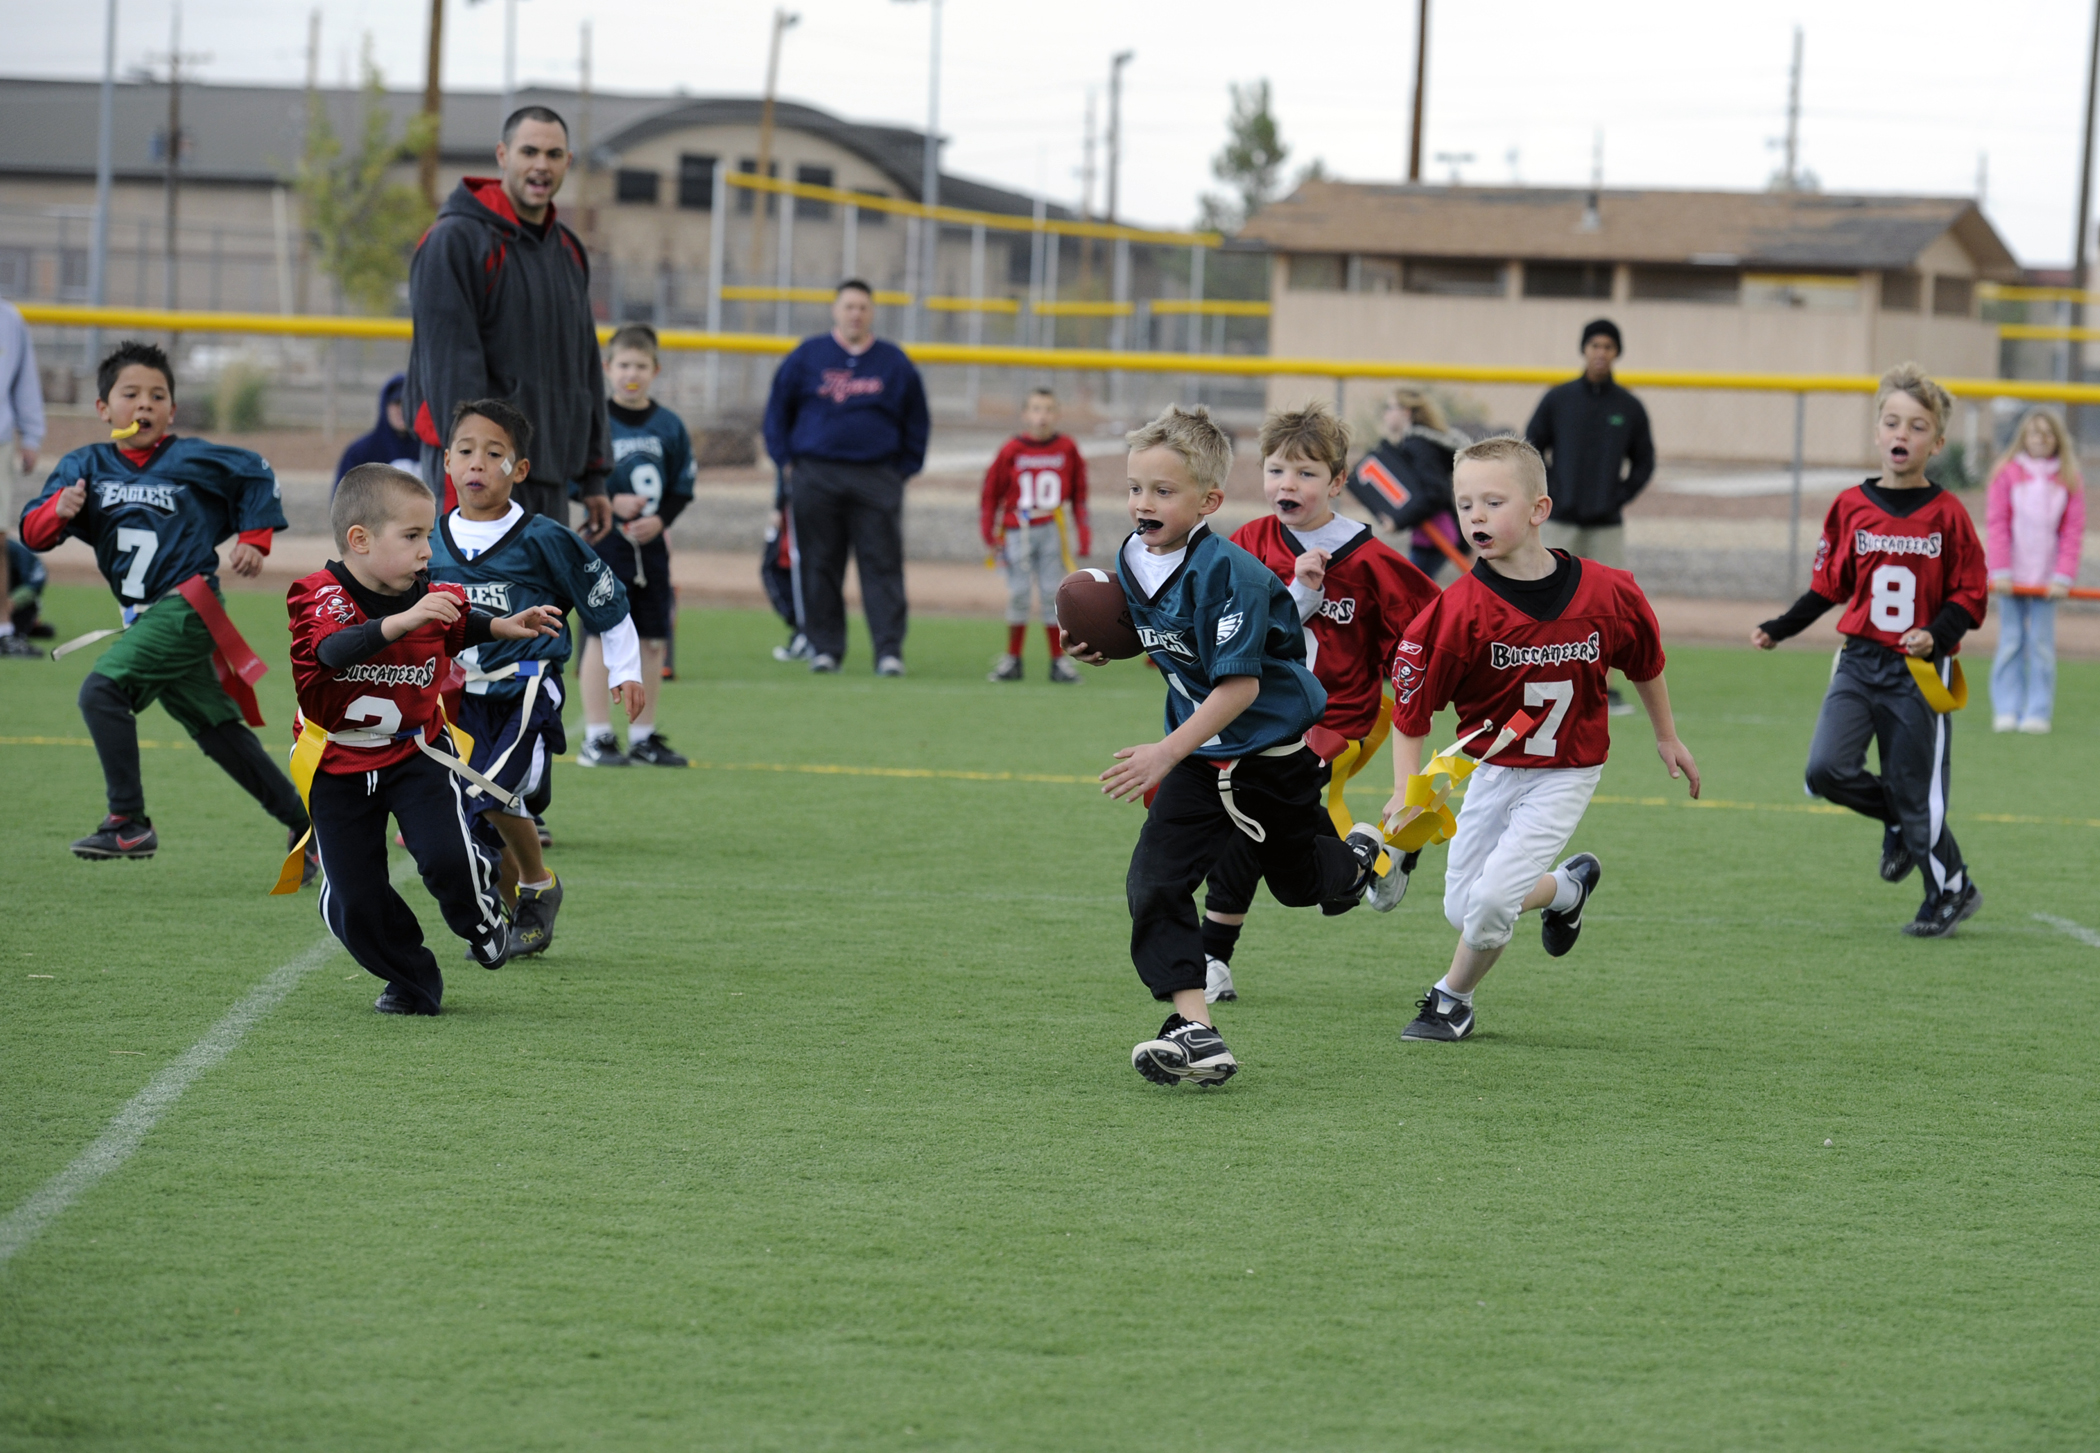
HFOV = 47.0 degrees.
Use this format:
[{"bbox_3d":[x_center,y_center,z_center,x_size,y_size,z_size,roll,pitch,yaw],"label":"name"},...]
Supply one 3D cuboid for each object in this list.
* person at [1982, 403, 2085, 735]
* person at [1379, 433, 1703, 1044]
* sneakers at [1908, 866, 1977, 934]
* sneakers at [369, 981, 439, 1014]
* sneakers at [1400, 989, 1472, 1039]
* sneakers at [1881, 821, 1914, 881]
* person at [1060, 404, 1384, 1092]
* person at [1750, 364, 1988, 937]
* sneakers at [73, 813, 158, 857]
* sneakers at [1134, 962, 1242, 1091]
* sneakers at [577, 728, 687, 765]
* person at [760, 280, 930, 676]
[{"bbox_3d":[5.153,-0.802,12.679,0.462,1.646,0.781,5,11,20],"label":"person"},{"bbox_3d":[1.321,0.046,6.511,0.799,1.626,0.473,3,11,5],"label":"person"},{"bbox_3d":[2.884,0.571,7.784,0.197,0.203,0.151,5,11,18],"label":"sneakers"},{"bbox_3d":[-1.744,0.740,6.595,0.199,0.076,0.069,7,5,0],"label":"sneakers"},{"bbox_3d":[1.065,0.790,6.592,0.092,0.092,0.227,-5,-7,38],"label":"sneakers"},{"bbox_3d":[2.809,0.431,8.009,0.102,0.218,0.079,12,21,24],"label":"sneakers"},{"bbox_3d":[0.415,0.181,6.159,0.559,1.433,0.864,7,12,26],"label":"person"},{"bbox_3d":[2.796,-0.259,7.979,0.724,1.781,0.651,8,12,30],"label":"person"},{"bbox_3d":[-3.188,0.388,8.277,0.308,0.134,0.103,2,3,-16],"label":"sneakers"},{"bbox_3d":[0.347,0.823,6.090,0.298,0.169,0.133,6,-28,-10],"label":"sneakers"},{"bbox_3d":[-1.790,0.092,10.415,0.535,0.196,0.166,1,2,-3],"label":"sneakers"},{"bbox_3d":[-1.122,-1.316,13.148,0.874,2.146,0.409,2,11,1],"label":"person"}]
